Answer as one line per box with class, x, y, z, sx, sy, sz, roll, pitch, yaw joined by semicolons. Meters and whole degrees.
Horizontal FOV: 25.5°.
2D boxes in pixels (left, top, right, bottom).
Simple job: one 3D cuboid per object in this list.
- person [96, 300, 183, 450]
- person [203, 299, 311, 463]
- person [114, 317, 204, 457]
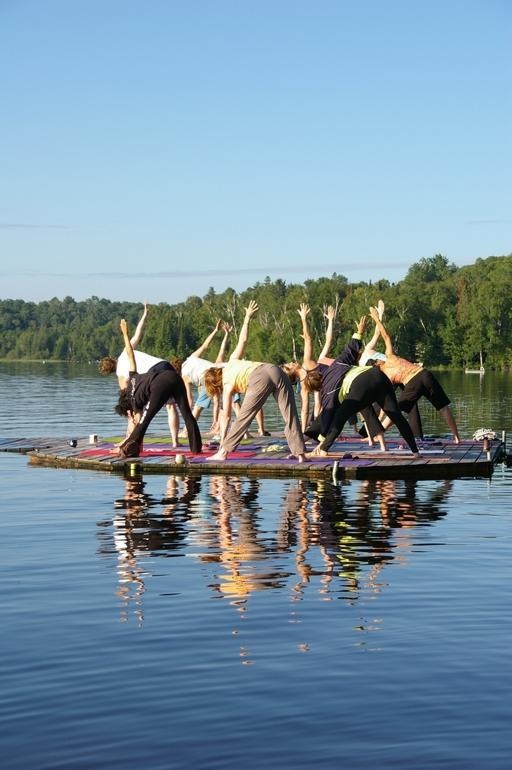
person;-1.661;-0.022;15.562;0.984;1.903;0.662;-9;9;0
person;-0.087;-0.013;14.603;1.289;2.068;1.112;1;2;20
person;-1.338;0.113;15.058;1.073;1.822;1.407;0;1;-5
